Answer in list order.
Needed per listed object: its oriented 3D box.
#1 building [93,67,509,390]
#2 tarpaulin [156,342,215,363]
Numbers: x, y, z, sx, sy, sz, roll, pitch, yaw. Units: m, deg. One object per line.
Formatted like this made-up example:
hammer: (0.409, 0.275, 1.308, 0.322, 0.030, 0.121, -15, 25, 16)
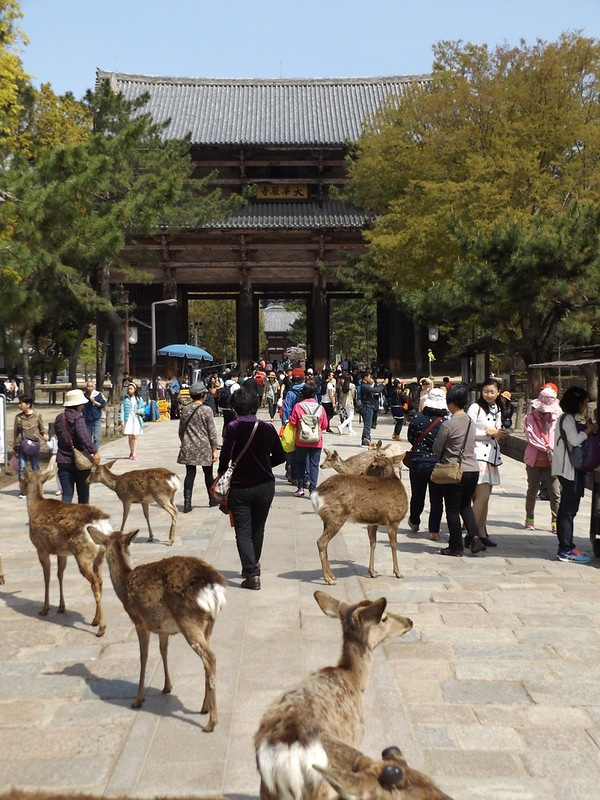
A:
building: (-1.557, -10.651, 47.145, 23.947, 22.198, 17.930, -1, 0, -2)
tarpaulin: (-5.231, -2.161, 33.510, 1.544, 0.519, 1.586, 8, 1, -11)
